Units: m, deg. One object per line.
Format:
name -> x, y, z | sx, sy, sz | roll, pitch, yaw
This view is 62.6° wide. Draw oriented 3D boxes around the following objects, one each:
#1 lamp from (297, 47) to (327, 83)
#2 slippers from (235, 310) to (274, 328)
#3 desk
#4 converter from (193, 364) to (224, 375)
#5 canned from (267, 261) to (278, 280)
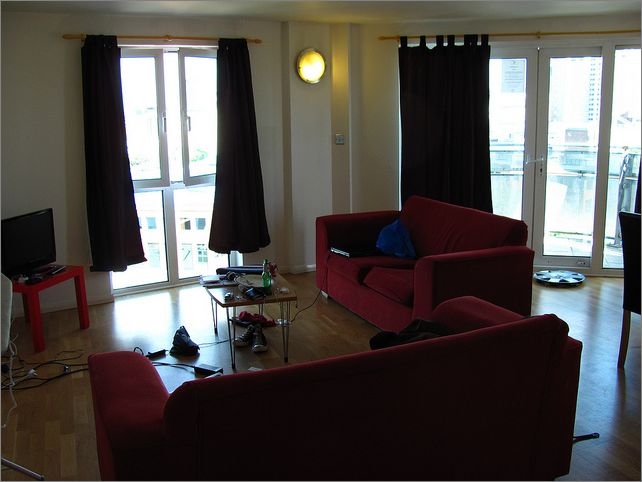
lamp -> -0.112, -1.951, 5.825 | 0.324, 0.373, 0.077 | -7, 15, -24
slippers -> -0.590, 0.703, 4.764 | 0.274, 0.126, 0.153 | -3, 10, -9
desk -> -2.291, 0.477, 4.638 | 0.622, 0.669, 0.669 | -8, 15, -24
converter -> -0.845, 0.963, 3.948 | 0.135, 0.033, 0.066 | 6, 14, 2
canned -> -0.395, 0.237, 4.446 | 0.099, 0.193, 0.124 | -4, 15, -13
